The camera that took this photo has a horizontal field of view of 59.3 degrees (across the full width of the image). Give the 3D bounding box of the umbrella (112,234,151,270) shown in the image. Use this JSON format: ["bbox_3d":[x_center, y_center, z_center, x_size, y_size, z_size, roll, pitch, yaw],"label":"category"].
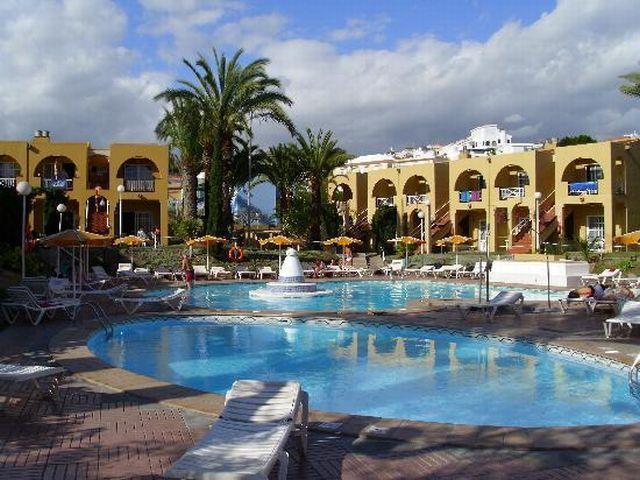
[{"bbox_3d":[-10.880,0.729,32.271,1.950,1.650,1.935,0,-4,1],"label":"umbrella"}]

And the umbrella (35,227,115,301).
[{"bbox_3d":[-9.634,0.973,21.967,2.680,2.223,2.682,1,-4,-3],"label":"umbrella"}]

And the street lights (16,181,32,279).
[{"bbox_3d":[-8.731,-0.442,16.559,0.456,2.577,0.436,1,-10,-30],"label":"street lights"}]

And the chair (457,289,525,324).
[{"bbox_3d":[4.972,1.776,15.750,2.059,0.620,0.813,-5,4,-44],"label":"chair"}]

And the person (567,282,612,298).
[{"bbox_3d":[8.597,1.585,17.894,0.889,0.430,1.152,-1,-2,24],"label":"person"}]

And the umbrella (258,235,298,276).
[{"bbox_3d":[-2.519,0.961,32.986,2.465,2.634,2.445,1,2,-3],"label":"umbrella"}]
